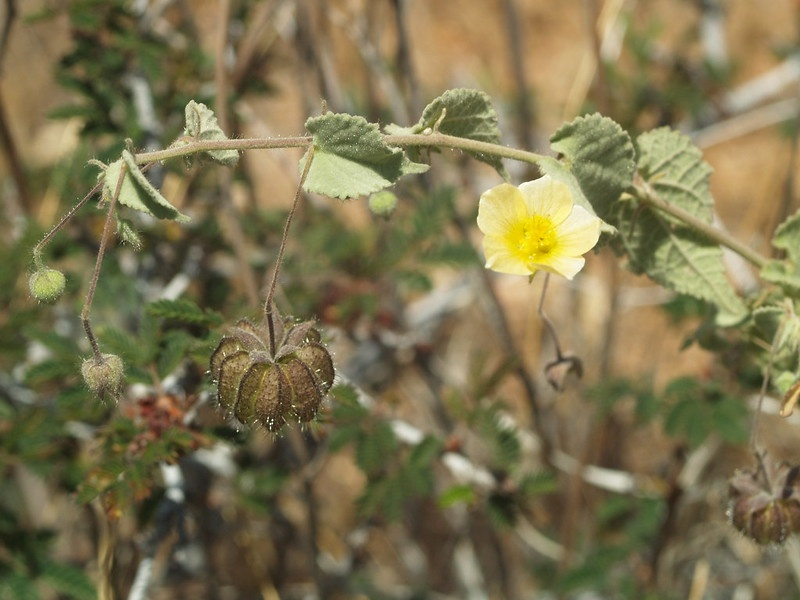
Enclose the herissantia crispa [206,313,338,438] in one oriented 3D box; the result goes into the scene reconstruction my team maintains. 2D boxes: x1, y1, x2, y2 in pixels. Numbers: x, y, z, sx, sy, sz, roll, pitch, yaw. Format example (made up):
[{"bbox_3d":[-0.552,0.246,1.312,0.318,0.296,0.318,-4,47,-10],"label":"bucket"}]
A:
[{"bbox_3d":[-0.302,0.167,3.086,0.285,0.217,0.370,-10,35,-2],"label":"herissantia crispa"}]
